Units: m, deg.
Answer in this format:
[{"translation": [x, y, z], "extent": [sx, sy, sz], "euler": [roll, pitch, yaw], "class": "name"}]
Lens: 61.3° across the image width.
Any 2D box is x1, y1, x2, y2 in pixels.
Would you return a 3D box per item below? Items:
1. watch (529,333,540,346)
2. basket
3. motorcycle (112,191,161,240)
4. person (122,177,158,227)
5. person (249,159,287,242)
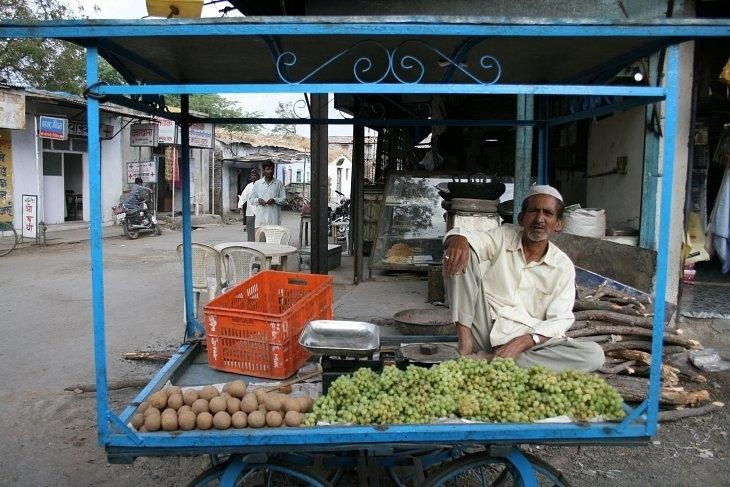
[{"translation": [1.396, 0.794, 5.069], "extent": [0.057, 0.079, 0.077], "euler": [-5, 11, -11], "class": "watch"}, {"translation": [-0.826, 0.680, 5.574], "extent": [1.061, 0.861, 1.317], "euler": [2, 3, 27], "class": "basket"}, {"translation": [-6.178, -0.862, 16.832], "extent": [0.938, 1.335, 1.975], "euler": [-2, 7, -5], "class": "motorcycle"}, {"translation": [-6.434, -1.115, 16.811], "extent": [0.611, 1.122, 1.588], "euler": [1, 14, 1], "class": "person"}, {"translation": [-1.684, -0.767, 10.693], "extent": [0.584, 1.254, 1.034], "euler": [2, -2, -1], "class": "person"}]
